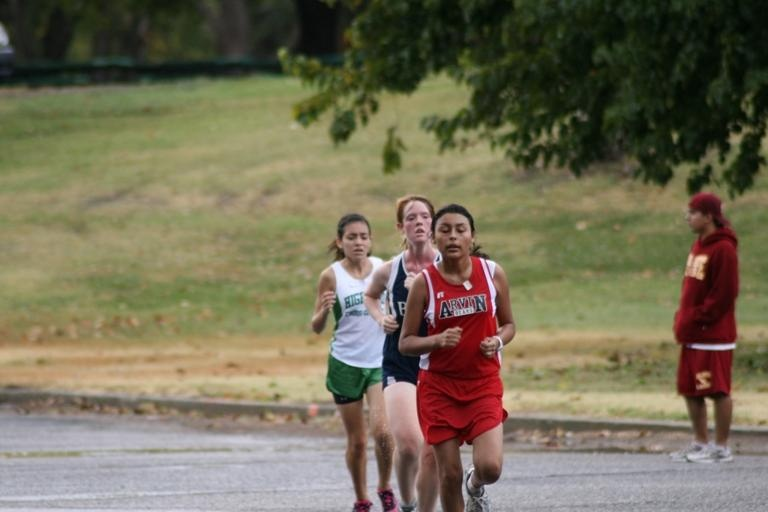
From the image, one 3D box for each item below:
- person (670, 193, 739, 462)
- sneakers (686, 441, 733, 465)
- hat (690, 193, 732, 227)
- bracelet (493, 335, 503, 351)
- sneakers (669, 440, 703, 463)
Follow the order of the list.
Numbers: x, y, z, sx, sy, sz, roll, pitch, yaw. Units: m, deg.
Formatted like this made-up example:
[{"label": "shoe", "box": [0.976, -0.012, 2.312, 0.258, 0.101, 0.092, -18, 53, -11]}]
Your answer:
[{"label": "person", "box": [3.880, 0.863, 22.910, 0.822, 3.241, 0.409, -3, 4, 8]}, {"label": "sneakers", "box": [3.913, 2.410, 22.872, 0.543, 0.248, 0.223, 0, -5, -1]}, {"label": "hat", "box": [3.962, -0.581, 23.073, 0.477, 0.436, 0.351, 3, 0, 6]}, {"label": "bracelet", "box": [1.241, 0.935, 20.390, 0.068, 0.148, 0.111, 0, 10, -17]}, {"label": "sneakers", "box": [3.658, 2.393, 23.013, 0.380, 0.163, 0.187, -10, 1, 11]}]
